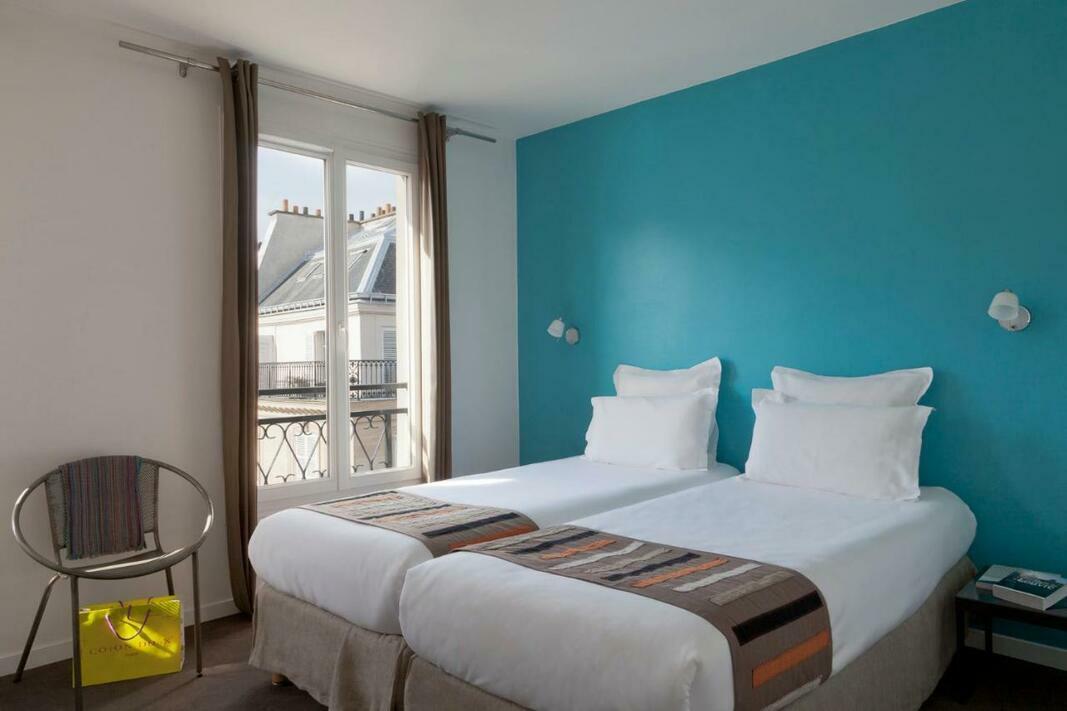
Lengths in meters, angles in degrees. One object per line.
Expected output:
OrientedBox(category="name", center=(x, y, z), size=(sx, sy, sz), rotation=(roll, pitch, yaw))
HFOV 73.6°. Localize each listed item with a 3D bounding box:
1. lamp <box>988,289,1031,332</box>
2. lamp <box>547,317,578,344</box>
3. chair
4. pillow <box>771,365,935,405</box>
OrientedBox(category="lamp", center=(2.541, -0.199, 3.842), size=(0.173, 0.228, 0.235), rotation=(0, -42, 41))
OrientedBox(category="lamp", center=(0.228, -0.180, 5.485), size=(0.222, 0.161, 0.069), rotation=(32, -20, 3))
OrientedBox(category="chair", center=(-2.261, 1.135, 3.831), size=(0.804, 1.114, 0.938), rotation=(8, 14, 44))
OrientedBox(category="pillow", center=(1.840, 0.189, 4.172), size=(0.862, 0.231, 0.203), rotation=(6, -17, 45))
